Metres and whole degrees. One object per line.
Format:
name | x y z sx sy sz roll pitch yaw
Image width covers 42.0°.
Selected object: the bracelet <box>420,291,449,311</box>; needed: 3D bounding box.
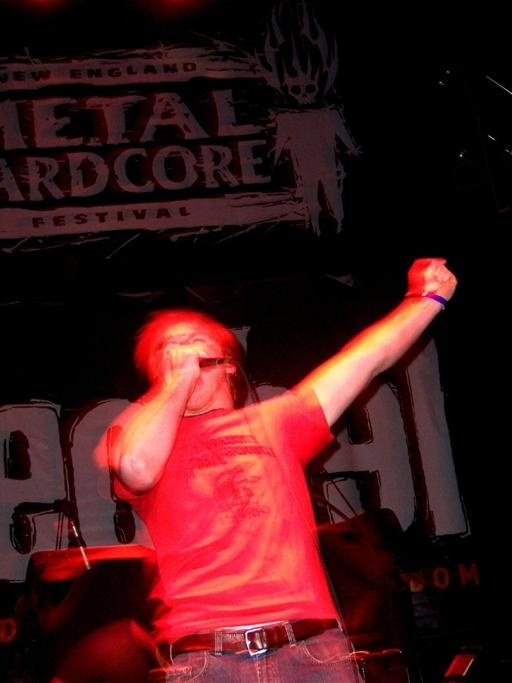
bracelet | 0.469 -0.104 1.747 0.056 0.019 0.046 28 8 7
